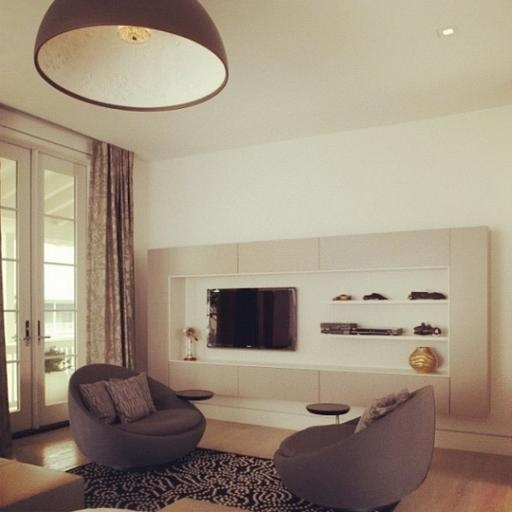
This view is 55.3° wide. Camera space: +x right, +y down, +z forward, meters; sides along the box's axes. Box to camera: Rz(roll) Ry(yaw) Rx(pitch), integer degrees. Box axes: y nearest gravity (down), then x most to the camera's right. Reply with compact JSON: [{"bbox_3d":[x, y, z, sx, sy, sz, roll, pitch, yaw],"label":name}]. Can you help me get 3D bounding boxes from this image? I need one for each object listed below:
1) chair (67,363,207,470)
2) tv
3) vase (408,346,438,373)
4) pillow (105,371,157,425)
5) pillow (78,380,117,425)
[{"bbox_3d":[-0.905,1.267,3.920,1.025,0.652,1.020,-7,-8,40],"label":"chair"},{"bbox_3d":[-0.068,0.700,5.371,1.229,0.686,0.032,-5,-12,36],"label":"tv"},{"bbox_3d":[1.478,0.915,4.318,0.242,0.220,0.236,-4,-10,25],"label":"vase"},{"bbox_3d":[-1.010,1.145,3.912,0.101,0.303,0.342,-33,-16,28],"label":"pillow"},{"bbox_3d":[-1.186,1.113,3.717,0.097,0.278,0.307,-34,-9,19],"label":"pillow"}]
